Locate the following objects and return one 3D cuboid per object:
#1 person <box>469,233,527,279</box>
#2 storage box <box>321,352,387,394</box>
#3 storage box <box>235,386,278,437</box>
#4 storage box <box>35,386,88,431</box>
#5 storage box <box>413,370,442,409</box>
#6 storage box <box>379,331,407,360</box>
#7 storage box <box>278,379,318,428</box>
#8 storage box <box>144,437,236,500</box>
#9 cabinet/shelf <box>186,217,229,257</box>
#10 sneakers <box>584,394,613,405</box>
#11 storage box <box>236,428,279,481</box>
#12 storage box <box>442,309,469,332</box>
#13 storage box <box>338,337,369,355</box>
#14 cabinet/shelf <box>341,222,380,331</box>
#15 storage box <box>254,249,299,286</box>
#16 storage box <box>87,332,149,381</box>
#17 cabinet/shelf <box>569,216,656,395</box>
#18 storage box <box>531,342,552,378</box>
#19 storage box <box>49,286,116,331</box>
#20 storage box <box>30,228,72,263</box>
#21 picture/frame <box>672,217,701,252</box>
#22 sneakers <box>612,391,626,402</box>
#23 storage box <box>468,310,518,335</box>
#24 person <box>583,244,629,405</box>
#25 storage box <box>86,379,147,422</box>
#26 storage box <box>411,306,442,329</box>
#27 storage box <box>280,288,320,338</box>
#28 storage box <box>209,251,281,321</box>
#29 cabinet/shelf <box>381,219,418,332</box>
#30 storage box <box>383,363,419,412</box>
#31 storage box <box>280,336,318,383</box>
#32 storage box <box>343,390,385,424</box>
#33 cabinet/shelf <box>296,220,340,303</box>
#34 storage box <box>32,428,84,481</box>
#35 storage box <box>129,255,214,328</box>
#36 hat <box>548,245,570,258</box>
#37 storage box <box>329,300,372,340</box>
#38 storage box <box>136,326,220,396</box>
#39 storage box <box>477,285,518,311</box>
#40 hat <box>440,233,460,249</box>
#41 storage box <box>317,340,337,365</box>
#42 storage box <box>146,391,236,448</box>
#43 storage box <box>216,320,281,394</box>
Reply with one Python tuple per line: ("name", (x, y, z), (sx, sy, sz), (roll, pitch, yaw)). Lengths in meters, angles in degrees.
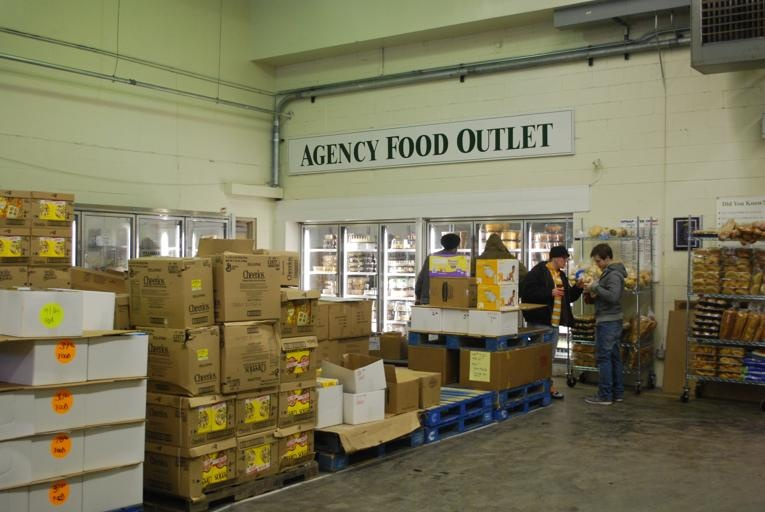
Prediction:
("person", (1.714, 0.008, 8.831), (0.698, 0.656, 0.406), (2, 4, 24))
("storage box", (-0.313, 1.246, 6.479), (0.443, 0.277, 0.442), (-3, -3, 43))
("storage box", (-1.218, 1.433, 5.659), (0.302, 0.412, 0.466), (0, 0, 38))
("storage box", (-2.476, 1.175, 4.712), (0.293, 0.207, 0.289), (1, -1, -8))
("storage box", (0.517, 1.485, 6.934), (0.320, 0.418, 0.439), (-2, -2, 34))
("storage box", (0.163, 1.274, 8.583), (0.328, 0.244, 0.317), (1, -2, -33))
("storage box", (-0.897, 1.417, 5.931), (0.279, 0.412, 0.478), (-6, -7, 41))
("storage box", (-1.685, 1.864, 5.398), (0.562, 0.341, 0.570), (-2, -5, 31))
("cabinet/shelf", (-3.097, -0.261, 11.177), (0.907, 0.837, 0.338), (1, 8, 15))
("sneakers", (2.984, 2.005, 8.448), (0.349, 0.140, 0.136), (3, 2, 40))
("storage box", (-1.191, 1.833, 5.636), (0.409, 0.379, 0.221), (-1, 1, -42))
("storage box", (0.923, 0.821, 7.827), (0.294, 0.267, 0.285), (1, -1, -17))
("storage box", (-0.372, 1.139, 7.837), (0.395, 0.207, 0.244), (3, -2, -40))
("cabinet/shelf", (-0.468, 0.389, 12.293), (0.795, 2.421, 0.584), (-3, 28, -9))
("storage box", (-1.127, 0.142, 6.598), (0.545, 0.371, 0.541), (1, 0, 9))
("storage box", (-2.131, 0.814, 4.941), (0.364, 0.274, 0.379), (-3, -4, 43))
("cabinet/shelf", (3.529, 0.770, 9.509), (1.208, 2.556, 0.885), (-2, -1, 36))
("storage box", (2.135, 1.411, 8.260), (0.245, 0.424, 0.466), (-2, -6, 20))
("storage box", (-2.449, 0.460, 5.103), (0.429, 0.422, 0.260), (3, 5, -2))
("storage box", (-4.202, -0.110, 7.673), (0.267, 0.470, 0.499), (0, -3, 33))
("picture/frame", (4.585, -0.327, 9.244), (0.408, 0.560, 0.047), (0, -12, 26))
("sneakers", (3.298, 1.986, 8.564), (0.082, 0.105, 0.247), (0, 0, 15))
("storage box", (1.394, 0.848, 7.707), (0.340, 0.254, 0.496), (0, 0, 26))
("person", (3.128, 0.934, 8.582), (0.509, 2.204, 0.745), (2, 5, 20))
("storage box", (-2.123, 1.165, 4.949), (0.331, 0.201, 0.329), (0, -2, -44))
("storage box", (0.577, 0.824, 7.979), (0.314, 0.233, 0.322), (1, -2, 21))
("storage box", (-0.891, 0.506, 6.121), (0.451, 0.476, 0.529), (3, 14, -15))
("storage box", (-1.286, 0.299, 5.787), (1.026, 0.554, 1.015), (-1, -2, -10))
("cabinet/shelf", (0.478, 0.495, 11.717), (0.806, 2.400, 0.545), (0, 0, 31))
("storage box", (0.167, 1.463, 6.749), (0.475, 0.479, 0.470), (-5, -6, 9))
("storage box", (-0.856, 1.012, 5.899), (0.248, 0.392, 0.463), (-6, -5, 42))
("storage box", (-0.218, 1.580, 6.415), (0.267, 0.297, 0.494), (-1, -4, 40))
("cabinet/shelf", (-1.171, 0.058, 12.324), (0.469, 1.381, 0.987), (-4, 6, -43))
("storage box", (-2.485, 1.529, 4.711), (0.313, 0.224, 0.305), (2, -4, -41))
("storage box", (-1.905, 0.319, 5.545), (0.710, 0.601, 0.393), (-1, 1, 29))
("hat", (2.607, -0.063, 8.949), (0.244, 0.126, 0.177), (-9, 9, -27))
("storage box", (-0.422, 0.805, 7.731), (0.474, 0.311, 0.498), (-3, -4, 29))
("storage box", (-1.818, 0.918, 5.504), (0.759, 0.555, 0.438), (-2, -4, 34))
("storage box", (1.439, 0.497, 7.663), (0.365, 0.226, 0.373), (1, 0, 45))
("hat", (0.988, -0.201, 8.934), (0.232, 0.243, 0.252), (0, 4, -1))
("storage box", (-0.656, 1.166, 7.432), (0.213, 0.266, 0.393), (0, 0, -6))
("storage box", (-1.725, 1.446, 5.548), (0.794, 0.382, 0.785), (5, -7, -36))
("storage box", (-1.371, 0.952, 5.709), (0.864, 0.604, 0.847), (-3, -7, -2))
